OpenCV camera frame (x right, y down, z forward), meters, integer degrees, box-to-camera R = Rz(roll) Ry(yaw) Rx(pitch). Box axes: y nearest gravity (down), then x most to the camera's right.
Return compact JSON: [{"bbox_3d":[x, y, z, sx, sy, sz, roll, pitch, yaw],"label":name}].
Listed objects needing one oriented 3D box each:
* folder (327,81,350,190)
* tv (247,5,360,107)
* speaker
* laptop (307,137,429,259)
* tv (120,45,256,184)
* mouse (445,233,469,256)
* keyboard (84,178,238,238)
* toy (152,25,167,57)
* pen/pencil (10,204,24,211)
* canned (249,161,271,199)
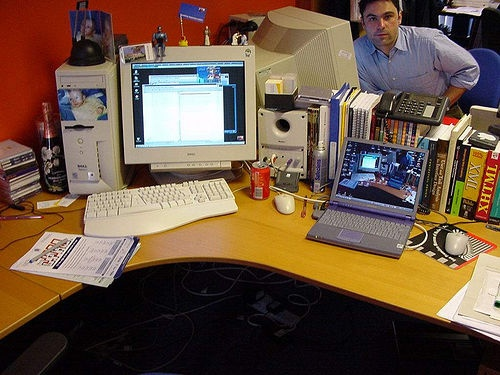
[{"bbox_3d":[0.387,-0.251,1.887,0.047,0.370,0.165,29,37,32],"label":"folder"},{"bbox_3d":[0.258,-0.748,2.119,0.387,0.516,0.614,-10,33,-23],"label":"tv"},{"bbox_3d":[0.167,-0.224,1.911,0.251,0.364,0.211,4,37,8],"label":"speaker"},{"bbox_3d":[0.535,0.003,1.758,0.601,0.445,0.427,21,32,31],"label":"laptop"},{"bbox_3d":[-0.282,-0.362,1.829,0.534,0.593,0.191,-5,29,-13],"label":"tv"},{"bbox_3d":[0.804,0.223,1.538,0.068,0.073,0.072,4,6,-1],"label":"mouse"},{"bbox_3d":[-0.406,0.084,1.775,0.662,0.082,0.390,-10,25,-18],"label":"keyboard"},{"bbox_3d":[-0.419,-0.675,1.821,0.064,0.126,0.163,-6,23,-12],"label":"toy"},{"bbox_3d":[-1.069,0.091,1.802,0.045,0.015,0.018,10,-14,8],"label":"pen/pencil"},{"bbox_3d":[0.049,-0.031,1.832,0.106,0.194,0.109,-10,36,-12],"label":"canned"}]
